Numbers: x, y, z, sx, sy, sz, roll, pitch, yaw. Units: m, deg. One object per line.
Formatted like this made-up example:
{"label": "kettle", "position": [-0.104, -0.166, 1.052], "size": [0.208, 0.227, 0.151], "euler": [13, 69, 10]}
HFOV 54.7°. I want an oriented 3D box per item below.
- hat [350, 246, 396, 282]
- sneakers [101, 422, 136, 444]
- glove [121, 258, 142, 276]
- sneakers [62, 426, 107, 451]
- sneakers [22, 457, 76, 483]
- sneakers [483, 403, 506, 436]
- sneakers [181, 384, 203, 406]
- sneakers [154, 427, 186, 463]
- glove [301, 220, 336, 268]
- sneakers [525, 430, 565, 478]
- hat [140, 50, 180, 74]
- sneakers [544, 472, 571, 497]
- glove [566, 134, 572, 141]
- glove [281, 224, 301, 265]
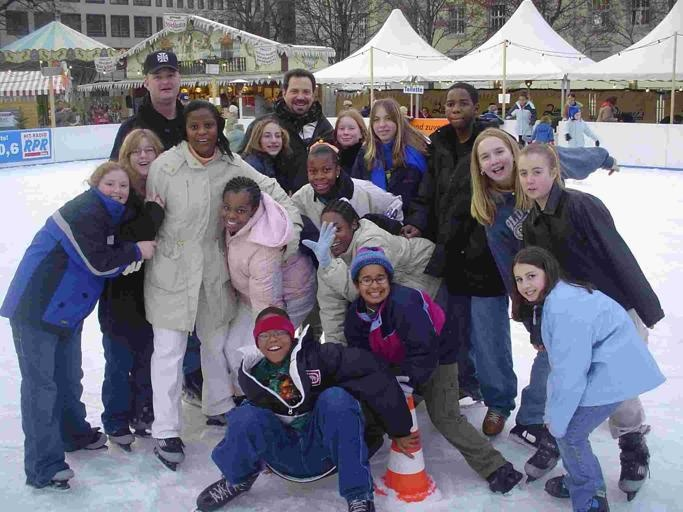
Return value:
{"label": "hat", "position": [0.178, 0.066, 4.214], "size": [0.213, 0.179, 0.226], "euler": [-2, -5, -4]}
{"label": "sneakers", "position": [-1.597, 1.273, 4.705], "size": [0.278, 0.133, 0.098], "euler": [0, 5, 31]}
{"label": "glove", "position": [-1.399, 0.087, 4.376], "size": [0.136, 0.051, 0.101], "euler": [-43, -13, 27]}
{"label": "sneakers", "position": [-1.773, 1.279, 4.559], "size": [0.227, 0.163, 0.126], "euler": [-15, 22, -30]}
{"label": "sneakers", "position": [-1.851, 1.389, 4.177], "size": [0.222, 0.110, 0.147], "euler": [-3, -34, -12]}
{"label": "sneakers", "position": [1.107, 1.213, 4.800], "size": [0.090, 0.124, 0.278], "euler": [9, 5, 17]}
{"label": "sneakers", "position": [-1.188, 1.116, 5.324], "size": [0.183, 0.147, 0.118], "euler": [21, 3, 3]}
{"label": "sneakers", "position": [-1.158, 1.294, 4.432], "size": [0.179, 0.230, 0.155], "euler": [-8, 16, -20]}
{"label": "glove", "position": [-0.158, -0.104, 4.564], "size": [0.296, 0.412, 0.175], "euler": [2, 7, 36]}
{"label": "sneakers", "position": [1.302, 1.280, 4.209], "size": [0.268, 0.306, 0.113], "euler": [-9, 16, -22]}
{"label": "hat", "position": [-1.414, -1.508, 5.148], "size": [0.183, 0.155, 0.266], "euler": [-4, 8, -17]}
{"label": "sneakers", "position": [1.321, 1.419, 4.043], "size": [0.188, 0.107, 0.090], "euler": [11, 3, 30]}
{"label": "glove", "position": [5.620, -2.984, 16.339], "size": [0.107, 0.148, 0.144], "euler": [7, 1, 27]}
{"label": "glove", "position": [-0.359, -0.086, 4.654], "size": [0.164, 0.239, 0.111], "euler": [3, 8, -19]}
